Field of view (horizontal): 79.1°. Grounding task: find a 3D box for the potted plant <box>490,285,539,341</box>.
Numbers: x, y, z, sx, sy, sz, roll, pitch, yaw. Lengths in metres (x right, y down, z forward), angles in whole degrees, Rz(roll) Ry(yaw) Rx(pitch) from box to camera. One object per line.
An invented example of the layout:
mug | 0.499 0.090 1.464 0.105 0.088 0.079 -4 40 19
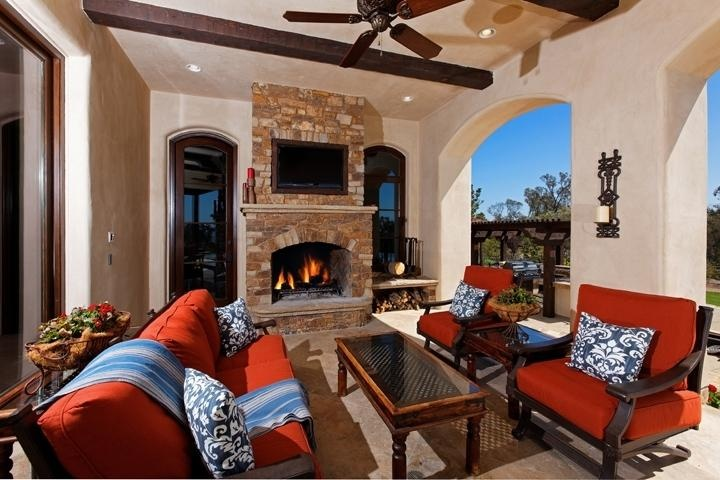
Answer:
potted plant | 1.574 0.741 4.613 0.562 0.542 0.550 -2 2 -31

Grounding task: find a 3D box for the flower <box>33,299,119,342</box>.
flower | -2.173 0.645 3.434 0.357 0.143 0.455 -4 7 -2

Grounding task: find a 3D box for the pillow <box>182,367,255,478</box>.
pillow | -1.004 1.312 3.058 0.280 0.414 0.715 -7 6 -30

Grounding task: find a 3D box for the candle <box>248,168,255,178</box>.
candle | -1.568 -0.980 6.295 0.065 0.167 0.178 0 1 -3

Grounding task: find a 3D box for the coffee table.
coffee table | 0.507 1.060 3.917 0.906 0.720 1.781 1 1 -20

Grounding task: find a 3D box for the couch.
couch | -1.395 0.634 3.278 1.241 1.014 2.597 -2 5 -22

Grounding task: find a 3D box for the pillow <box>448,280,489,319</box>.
pillow | 1.303 0.730 5.229 0.127 0.376 0.411 31 -12 -32

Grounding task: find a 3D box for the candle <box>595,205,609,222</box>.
candle | 2.637 -0.292 4.741 0.137 0.179 0.115 0 1 26
